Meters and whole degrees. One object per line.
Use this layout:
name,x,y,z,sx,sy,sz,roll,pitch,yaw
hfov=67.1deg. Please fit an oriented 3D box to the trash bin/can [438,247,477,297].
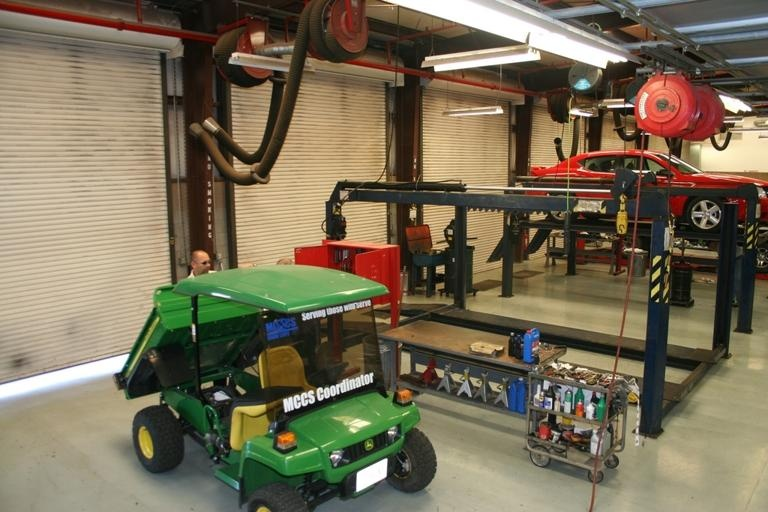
trash bin/can,2.108,0.372,14.970,1.271,1.203,1.204,-3,4,-41

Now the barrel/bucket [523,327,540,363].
barrel/bucket,2.003,1.231,7.889,0.182,0.460,0.469,5,5,30

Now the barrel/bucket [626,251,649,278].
barrel/bucket,5.459,0.142,12.451,0.252,0.607,0.826,5,13,21

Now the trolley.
trolley,2.620,2.238,7.838,1.134,1.225,0.761,4,4,41
